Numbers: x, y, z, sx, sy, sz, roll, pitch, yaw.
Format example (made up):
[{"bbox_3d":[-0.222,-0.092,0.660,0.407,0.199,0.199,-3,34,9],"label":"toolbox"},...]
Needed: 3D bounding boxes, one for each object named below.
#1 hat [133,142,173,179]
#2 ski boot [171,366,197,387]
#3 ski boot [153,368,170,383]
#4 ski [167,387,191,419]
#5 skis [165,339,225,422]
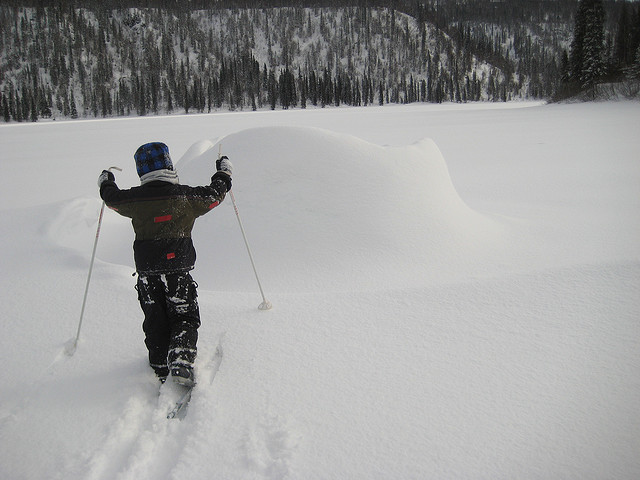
[{"bbox_3d":[-2.169,-1.049,7.087,0.386,0.426,0.316,-14,-2,-1],"label":"hat"},{"bbox_3d":[-1.696,1.718,6.783,0.120,0.394,0.203,-14,56,8],"label":"ski boot"},{"bbox_3d":[-1.994,1.719,6.940,0.113,0.170,0.260,-16,25,-39],"label":"ski boot"},{"bbox_3d":[-1.696,1.984,6.714,0.073,0.108,0.324,-4,42,43],"label":"ski"},{"bbox_3d":[-1.591,1.809,6.845,0.140,0.114,1.085,-15,41,44],"label":"skis"}]
